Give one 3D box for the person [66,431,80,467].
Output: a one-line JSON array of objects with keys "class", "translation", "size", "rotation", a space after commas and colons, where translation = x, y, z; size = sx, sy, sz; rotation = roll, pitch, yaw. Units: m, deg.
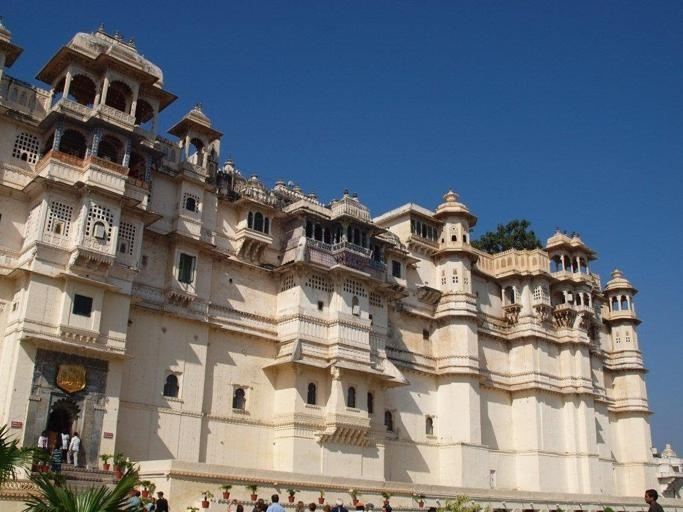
[{"class": "person", "translation": [-11.083, 8.018, 30.615], "size": [0.525, 1.489, 0.934], "rotation": [9, -26, -17]}]
